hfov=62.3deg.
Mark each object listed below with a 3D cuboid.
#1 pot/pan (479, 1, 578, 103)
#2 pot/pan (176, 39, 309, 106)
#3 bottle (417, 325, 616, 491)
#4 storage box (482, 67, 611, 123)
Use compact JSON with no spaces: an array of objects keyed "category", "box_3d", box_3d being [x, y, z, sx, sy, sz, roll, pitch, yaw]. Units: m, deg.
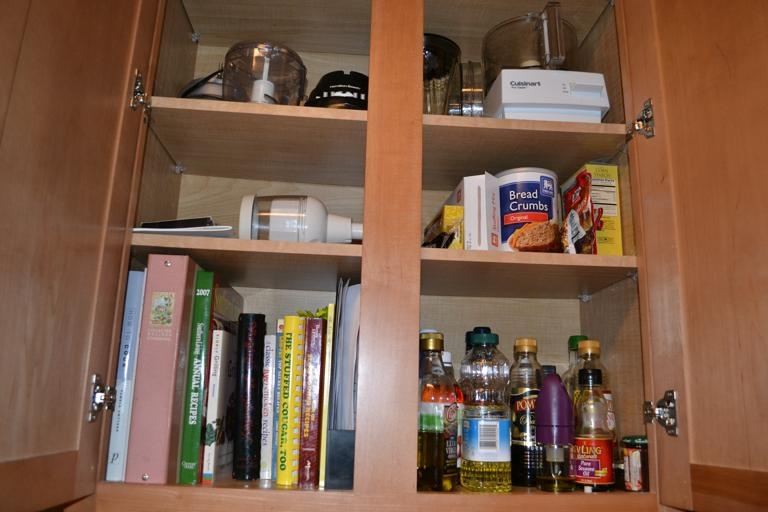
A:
[{"category":"pot/pan","box_3d":[0.350,-0.513,1.663,0.202,0.180,0.249,2,-1,-18]},{"category":"pot/pan","box_3d":[-0.351,-0.412,1.584,0.283,0.128,0.165,-8,-14,17]},{"category":"bottle","box_3d":[0.299,0.353,1.432,0.328,0.285,0.112,8,-21,-19]},{"category":"storage box","box_3d":[0.395,-0.381,1.469,0.183,0.071,0.171,2,-8,-5]}]
